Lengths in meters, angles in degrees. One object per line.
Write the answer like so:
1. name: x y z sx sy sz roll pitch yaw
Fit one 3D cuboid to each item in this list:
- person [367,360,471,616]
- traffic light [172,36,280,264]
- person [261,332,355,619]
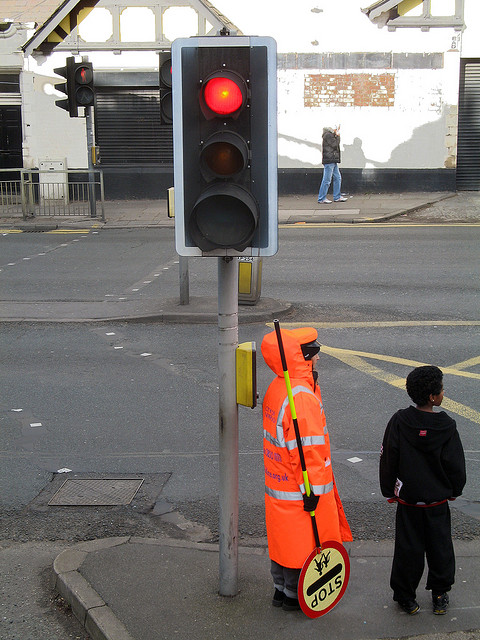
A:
1. person: 0.827 0.788 3.360 0.387 1.111 0.402 4 14 18
2. traffic light: -0.063 -0.683 2.951 0.423 0.865 0.276 -1 13 -1
3. person: 0.298 0.692 3.274 0.372 1.279 0.483 -5 14 -15
